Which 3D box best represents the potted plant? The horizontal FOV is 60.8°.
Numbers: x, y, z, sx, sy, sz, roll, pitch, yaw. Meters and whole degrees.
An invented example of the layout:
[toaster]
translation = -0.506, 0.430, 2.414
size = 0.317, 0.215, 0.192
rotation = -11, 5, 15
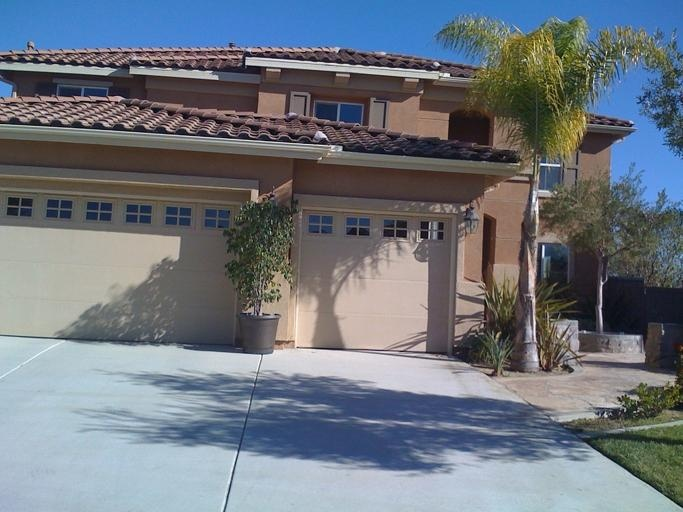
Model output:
[potted plant]
translation = -1.764, 0.395, 12.374
size = 1.466, 3.241, 1.115
rotation = 1, 9, -11
